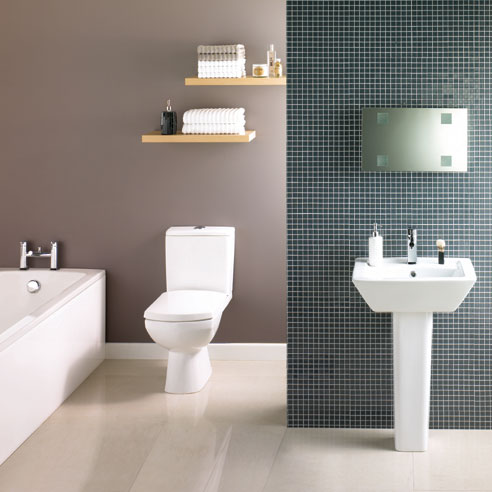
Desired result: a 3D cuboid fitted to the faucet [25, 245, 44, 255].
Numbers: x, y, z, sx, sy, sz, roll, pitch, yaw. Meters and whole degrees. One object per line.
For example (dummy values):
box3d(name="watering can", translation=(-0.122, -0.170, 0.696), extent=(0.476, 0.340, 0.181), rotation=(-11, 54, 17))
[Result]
box3d(name="faucet", translation=(-1.446, 0.028, 3.573), extent=(0.123, 0.067, 0.082), rotation=(-3, 6, -13))

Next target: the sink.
box3d(name="sink", translation=(0.718, 0.201, 2.240), extent=(0.496, 0.247, 0.508), rotation=(1, 7, 15))
